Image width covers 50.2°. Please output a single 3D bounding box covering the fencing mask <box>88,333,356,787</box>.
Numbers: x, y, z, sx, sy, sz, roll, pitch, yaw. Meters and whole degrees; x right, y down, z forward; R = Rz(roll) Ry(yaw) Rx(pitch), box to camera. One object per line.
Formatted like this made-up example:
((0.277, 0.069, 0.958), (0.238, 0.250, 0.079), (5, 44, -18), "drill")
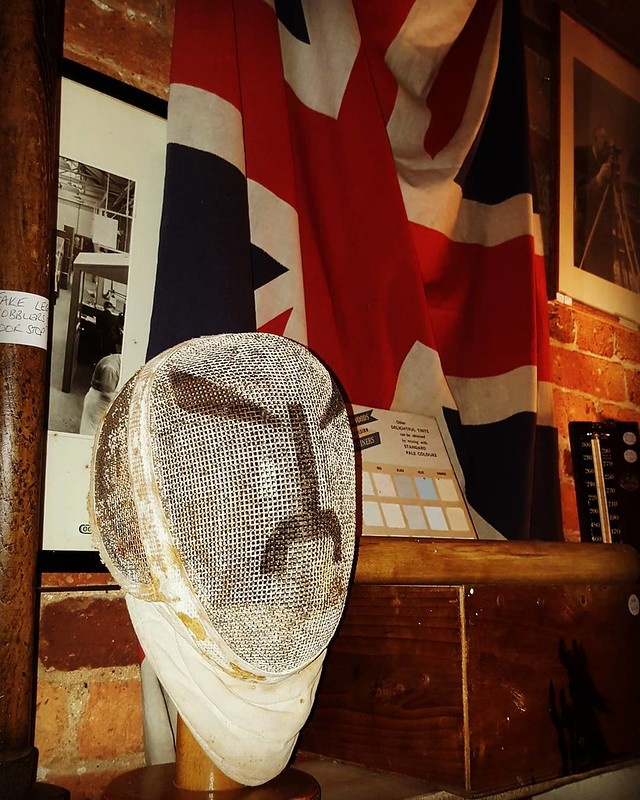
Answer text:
((-0.046, 0.113, 0.441), (0.203, 0.272, 0.151), (5, 0, -27), "fencing mask")
